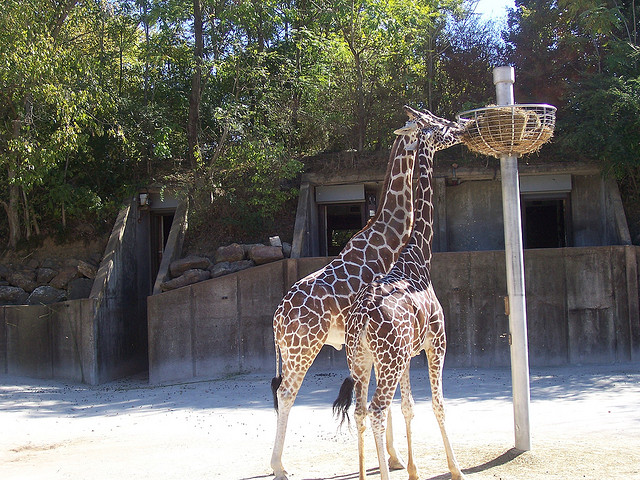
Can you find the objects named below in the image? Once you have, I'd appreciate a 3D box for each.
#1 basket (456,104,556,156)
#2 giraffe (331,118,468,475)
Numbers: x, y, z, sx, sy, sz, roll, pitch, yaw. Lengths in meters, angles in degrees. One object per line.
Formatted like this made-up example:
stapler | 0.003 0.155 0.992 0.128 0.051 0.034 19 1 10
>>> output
basket | 3.342 -1.979 15.560 1.601 0.882 0.280 -2 10 1
giraffe | 1.808 0.915 15.751 1.950 6.136 4.088 3 11 27
